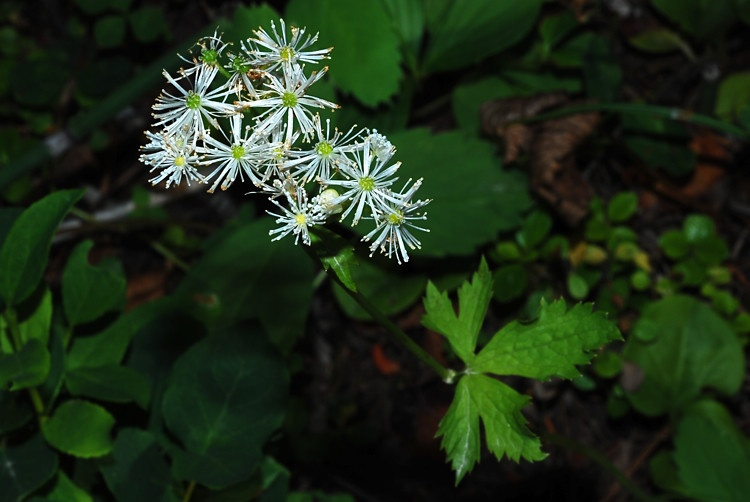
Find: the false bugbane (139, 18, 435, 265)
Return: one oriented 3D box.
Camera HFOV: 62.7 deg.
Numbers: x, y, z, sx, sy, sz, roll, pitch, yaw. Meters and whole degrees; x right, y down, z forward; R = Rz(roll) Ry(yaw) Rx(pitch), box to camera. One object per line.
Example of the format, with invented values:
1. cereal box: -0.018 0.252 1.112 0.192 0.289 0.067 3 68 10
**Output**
1. false bugbane: -0.206 -0.194 1.755 0.767 0.601 0.350 37 -14 -6
